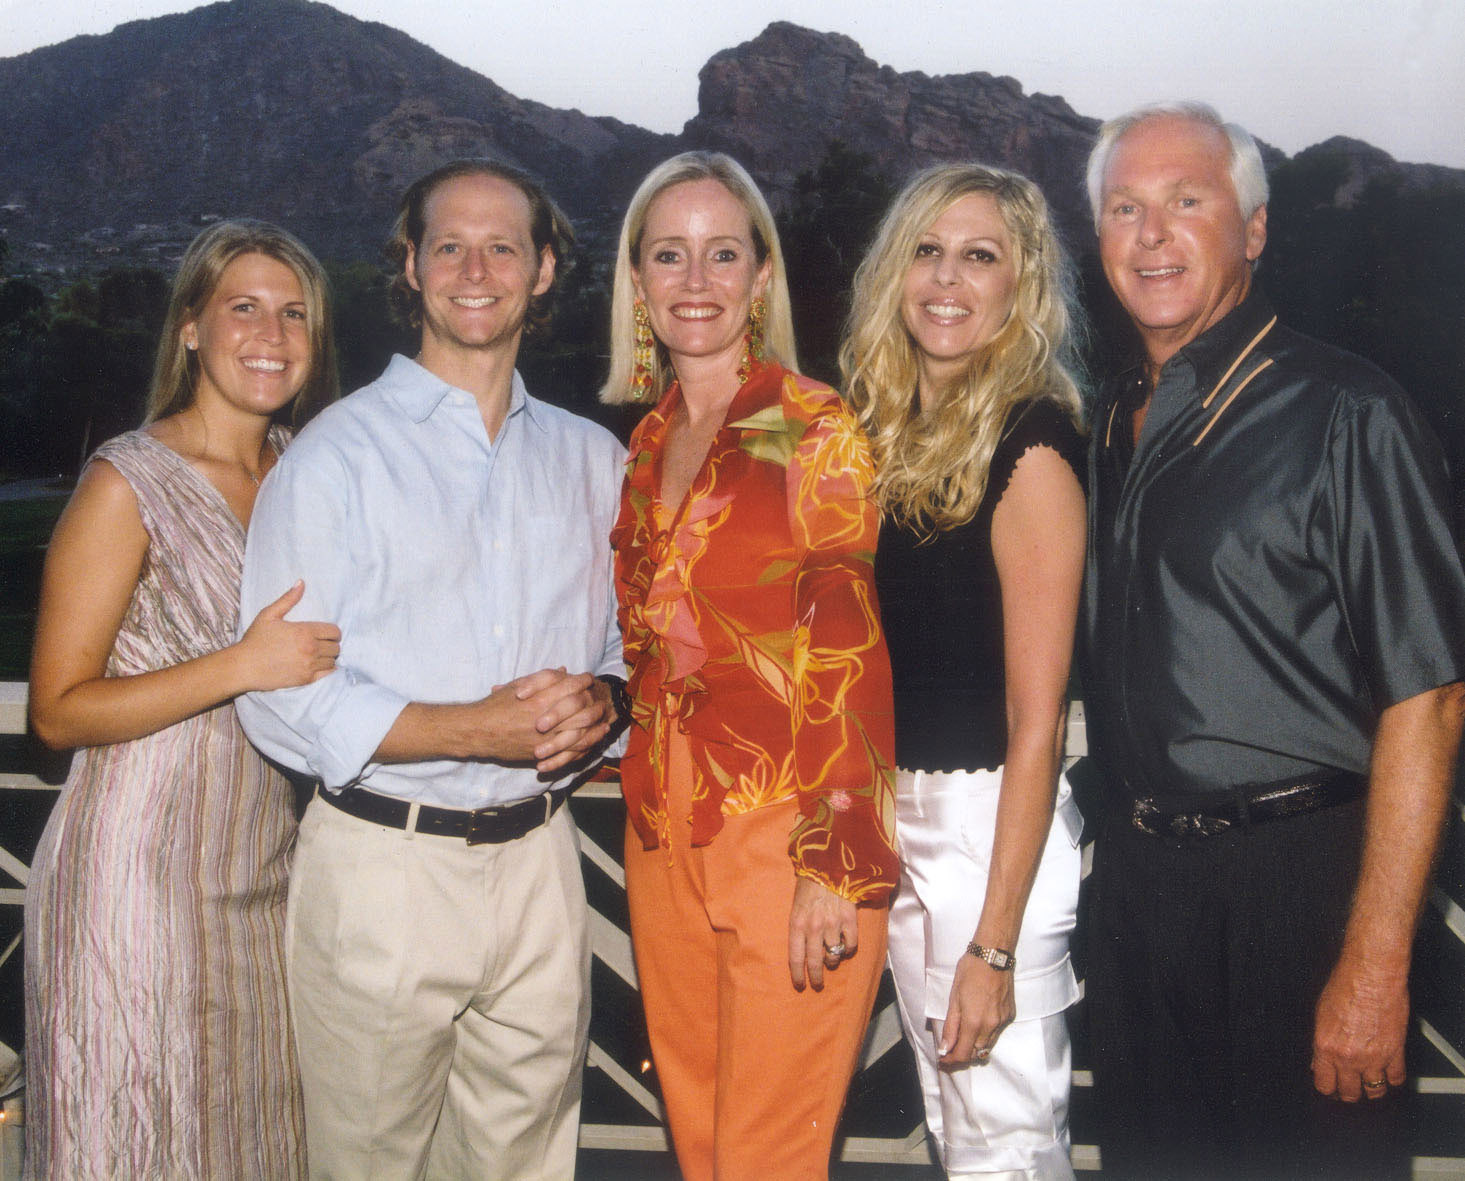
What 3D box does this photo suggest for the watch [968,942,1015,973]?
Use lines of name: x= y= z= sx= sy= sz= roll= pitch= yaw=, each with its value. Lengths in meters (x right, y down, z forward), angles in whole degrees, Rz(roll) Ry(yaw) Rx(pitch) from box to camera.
watch: x=0.582 y=0.831 z=3.498 sx=0.100 sy=0.064 sz=0.045 roll=4 pitch=-6 yaw=-12

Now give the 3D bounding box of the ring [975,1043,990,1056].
ring: x=0.563 y=1.046 z=3.529 sx=0.023 sy=0.033 sz=0.034 roll=11 pitch=36 yaw=15

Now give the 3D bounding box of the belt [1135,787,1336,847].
belt: x=1.126 y=0.501 z=3.474 sx=0.215 sy=0.066 sz=0.203 roll=-13 pitch=4 yaw=26

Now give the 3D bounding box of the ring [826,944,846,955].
ring: x=0.225 y=0.789 z=3.411 sx=0.021 sy=0.010 sz=0.030 roll=3 pitch=7 yaw=18
